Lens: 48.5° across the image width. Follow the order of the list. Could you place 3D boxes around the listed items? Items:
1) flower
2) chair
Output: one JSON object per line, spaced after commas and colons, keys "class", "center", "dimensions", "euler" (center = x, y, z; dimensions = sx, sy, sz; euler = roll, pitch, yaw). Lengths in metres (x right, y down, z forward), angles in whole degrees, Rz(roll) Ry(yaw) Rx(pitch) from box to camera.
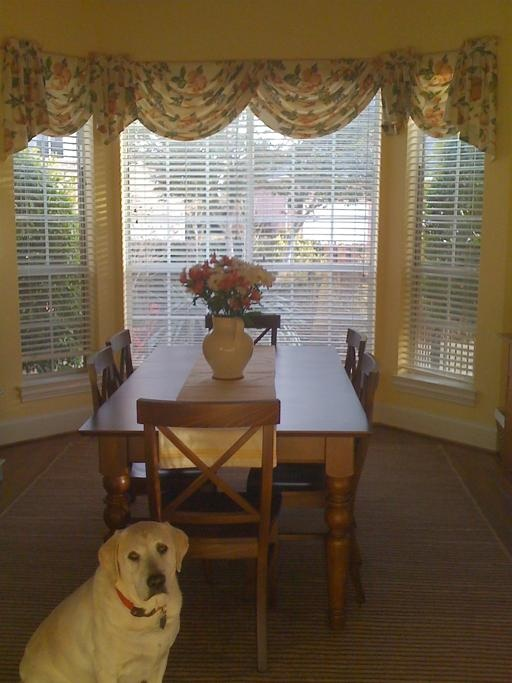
{"class": "flower", "center": [-0.117, -0.193, 2.153], "dimensions": [0.254, 0.196, 0.269], "euler": [1, 11, 10]}
{"class": "chair", "center": [-0.054, 0.699, 2.072], "dimensions": [0.687, 0.669, 1.415], "euler": [-2, 14, 1]}
